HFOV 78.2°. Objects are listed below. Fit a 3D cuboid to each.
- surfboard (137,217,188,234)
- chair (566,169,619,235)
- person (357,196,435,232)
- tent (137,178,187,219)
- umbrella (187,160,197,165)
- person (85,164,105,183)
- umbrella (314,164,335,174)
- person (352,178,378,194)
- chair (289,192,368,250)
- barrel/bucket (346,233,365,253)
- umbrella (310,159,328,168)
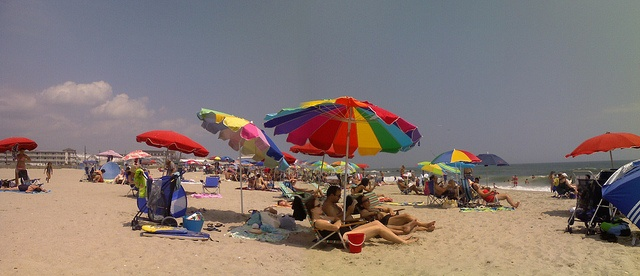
[{"bbox_3d":[-6.466,3.759,16.354,1.482,0.338,0.842,-5,5,-15],"label":"surfboard"},{"bbox_3d":[11.925,2.685,17.241,2.284,2.018,1.837,1,-6,-34],"label":"chair"},{"bbox_3d":[3.131,3.303,16.932,3.361,1.262,0.982,-1,4,31],"label":"person"},{"bbox_3d":[-6.848,2.484,17.354,2.300,1.728,1.356,8,4,12],"label":"tent"},{"bbox_3d":[-18.569,3.497,57.388,1.472,0.563,1.377,9,-9,-31],"label":"umbrella"},{"bbox_3d":[-16.987,2.704,29.791,1.379,1.375,0.907,10,29,38],"label":"person"},{"bbox_3d":[0.292,2.222,29.050,1.971,0.508,1.790,0,-4,7],"label":"umbrella"},{"bbox_3d":[2.123,2.288,18.812,1.094,0.408,0.760,-17,10,-3],"label":"person"},{"bbox_3d":[0.494,3.394,16.531,3.203,1.734,2.055,8,10,4],"label":"chair"},{"bbox_3d":[1.404,4.197,15.826,0.629,0.794,0.306,1,-2,3],"label":"barrel/bucket"},{"bbox_3d":[-0.269,1.821,27.413,1.717,0.470,1.547,1,-2,17],"label":"umbrella"}]
